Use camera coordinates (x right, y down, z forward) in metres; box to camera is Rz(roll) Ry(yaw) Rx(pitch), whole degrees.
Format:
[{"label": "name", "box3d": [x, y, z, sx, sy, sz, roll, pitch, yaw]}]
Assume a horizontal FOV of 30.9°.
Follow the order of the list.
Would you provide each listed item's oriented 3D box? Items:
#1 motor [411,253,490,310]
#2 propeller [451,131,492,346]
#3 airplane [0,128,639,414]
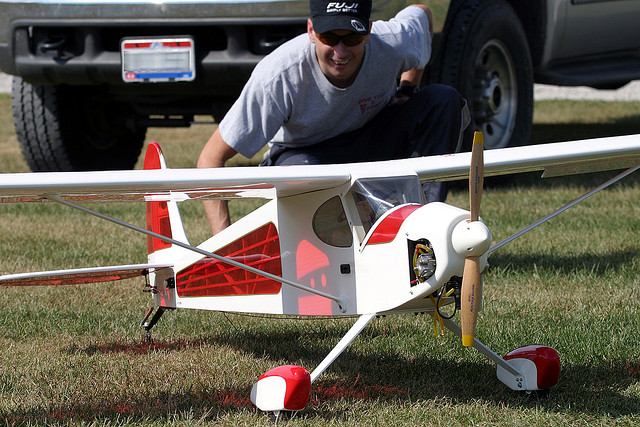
[{"label": "motor", "box3d": [0.866, 0.418, 8.295, 0.375, 0.256, 0.478, -1, 7, 3]}, {"label": "propeller", "box3d": [1.085, 0.229, 8.348, 0.269, 1.540, 0.586, 4, 24, 14]}, {"label": "airplane", "box3d": [-0.093, 0.193, 8.967, 3.319, 1.341, 2.605, -7, 7, -38]}]
